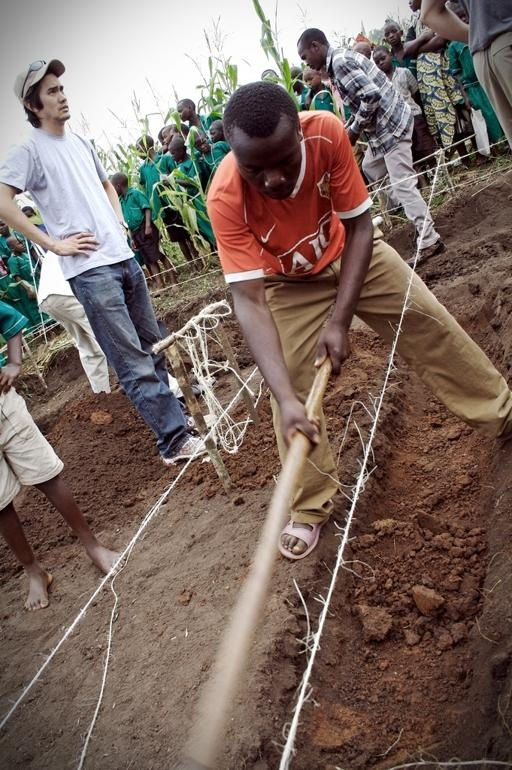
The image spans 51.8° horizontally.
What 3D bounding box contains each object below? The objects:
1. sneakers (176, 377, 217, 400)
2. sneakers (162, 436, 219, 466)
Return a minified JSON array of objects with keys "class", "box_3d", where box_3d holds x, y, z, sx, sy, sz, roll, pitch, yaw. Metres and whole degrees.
[{"class":"sneakers","box_3d":[-0.361,0.024,3.152,0.180,0.129,0.063,-15,54,29]},{"class":"sneakers","box_3d":[-0.387,0.391,3.157,0.315,0.148,0.119,-18,13,9]}]
